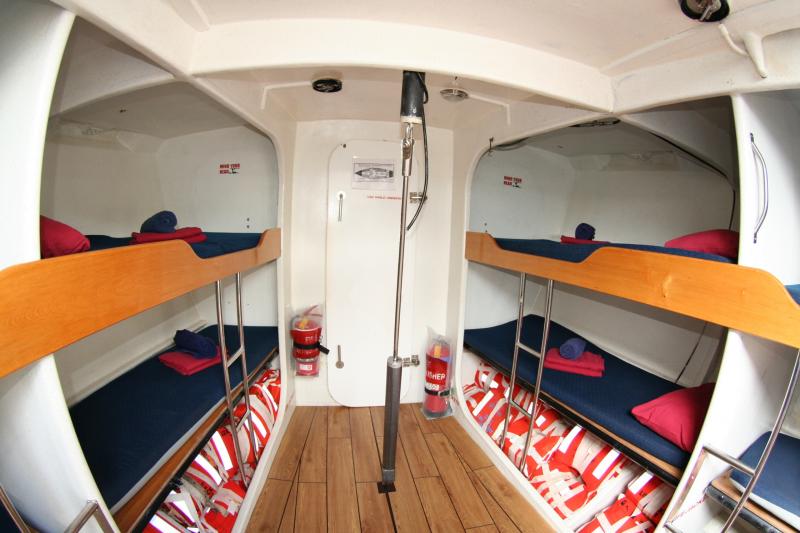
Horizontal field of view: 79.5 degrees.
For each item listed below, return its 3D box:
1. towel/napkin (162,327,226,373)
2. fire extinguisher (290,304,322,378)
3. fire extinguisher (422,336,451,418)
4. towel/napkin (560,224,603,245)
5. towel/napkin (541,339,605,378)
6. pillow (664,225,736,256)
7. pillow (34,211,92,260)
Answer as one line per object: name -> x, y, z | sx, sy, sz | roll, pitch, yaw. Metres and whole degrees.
towel/napkin -> -1.341, 0.563, 3.135 | 0.322, 0.116, 0.312 | 16, 22, 35
fire extinguisher -> -0.736, 0.619, 3.803 | 0.255, 0.583, 0.237 | 0, 8, -11
fire extinguisher -> 0.298, 0.893, 3.850 | 0.211, 0.654, 0.224 | 2, 8, 4
towel/napkin -> 1.240, -0.216, 3.265 | 0.218, 0.116, 0.292 | 0, 5, 2
towel/napkin -> 1.199, 0.638, 3.309 | 0.310, 0.115, 0.314 | 4, 2, 11
pillow -> 1.501, -0.120, 2.375 | 0.200, 0.061, 0.209 | 0, 19, 20
pillow -> -1.385, -0.117, 1.966 | 0.055, 0.170, 0.188 | -18, -13, 38
